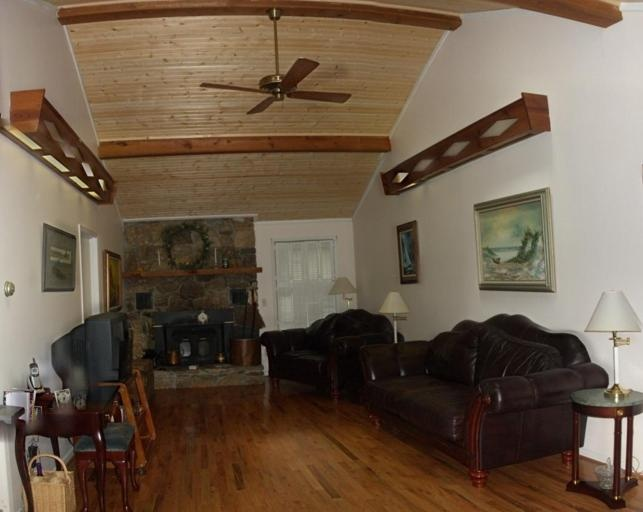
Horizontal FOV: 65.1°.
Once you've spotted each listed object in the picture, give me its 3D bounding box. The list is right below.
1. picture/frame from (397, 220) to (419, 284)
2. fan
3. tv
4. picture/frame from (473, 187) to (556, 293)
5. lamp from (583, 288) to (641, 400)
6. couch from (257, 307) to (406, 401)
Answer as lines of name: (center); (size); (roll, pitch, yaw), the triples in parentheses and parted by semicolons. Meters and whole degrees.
picture/frame: (1.168, -0.043, 6.946); (0.054, 0.833, 0.792); (-4, 2, 30)
fan: (-0.325, -1.558, 4.568); (1.305, 0.805, 1.284); (-4, -18, 5)
tv: (-2.223, 0.896, 4.845); (0.667, 0.603, 0.712); (0, -3, -11)
picture/frame: (1.834, -0.125, 4.884); (0.057, 0.956, 0.988); (-4, -1, -24)
lamp: (2.121, 0.612, 3.639); (0.341, 0.814, 0.528); (-4, -2, 29)
couch: (0.087, 1.341, 7.247); (1.095, 1.073, 2.034); (3, -6, -34)
